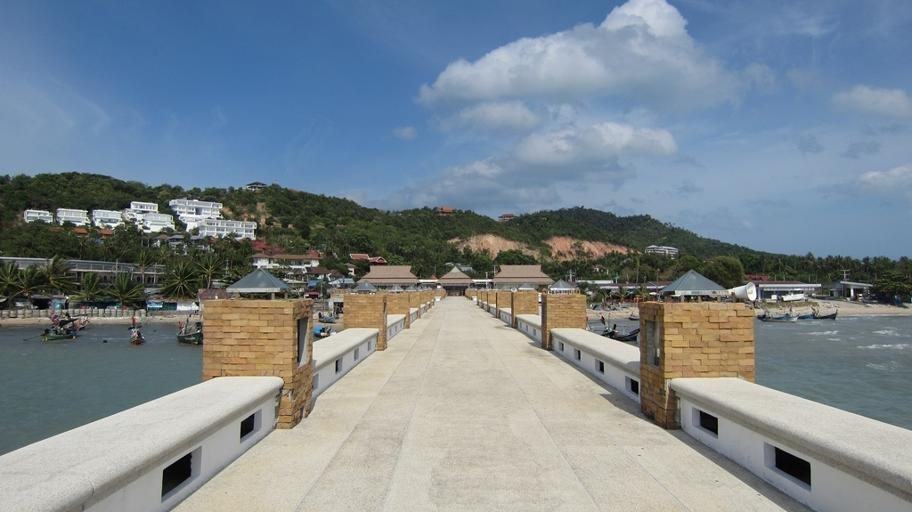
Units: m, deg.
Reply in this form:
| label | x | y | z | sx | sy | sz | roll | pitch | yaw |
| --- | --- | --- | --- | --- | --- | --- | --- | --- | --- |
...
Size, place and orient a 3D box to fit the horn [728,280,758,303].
| label | x | y | z | sx | sy | sz | roll | pitch | yaw |
| --- | --- | --- | --- | --- | --- | --- | --- | --- | --- |
| horn | 11.937 | 1.493 | 23.285 | 0.926 | 0.829 | 1.305 | -3 | -5 | 33 |

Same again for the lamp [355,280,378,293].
| label | x | y | z | sx | sy | sz | roll | pitch | yaw |
| --- | --- | --- | --- | --- | --- | --- | --- | --- | --- |
| lamp | -6.177 | 2.125 | 37.533 | 1.773 | 0.704 | 1.662 | 0 | 3 | -26 |

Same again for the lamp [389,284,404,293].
| label | x | y | z | sx | sy | sz | roll | pitch | yaw |
| --- | --- | --- | --- | --- | --- | --- | --- | --- | --- |
| lamp | -5.142 | 2.792 | 48.588 | 1.899 | 0.685 | 1.746 | 2 | 8 | -4 |

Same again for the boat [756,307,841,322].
| label | x | y | z | sx | sy | sz | roll | pitch | yaw |
| --- | --- | --- | --- | --- | --- | --- | --- | --- | --- |
| boat | 47.858 | 8.206 | 78.233 | 10.443 | 2.024 | 2.820 | -2 | -10 | -2 |
